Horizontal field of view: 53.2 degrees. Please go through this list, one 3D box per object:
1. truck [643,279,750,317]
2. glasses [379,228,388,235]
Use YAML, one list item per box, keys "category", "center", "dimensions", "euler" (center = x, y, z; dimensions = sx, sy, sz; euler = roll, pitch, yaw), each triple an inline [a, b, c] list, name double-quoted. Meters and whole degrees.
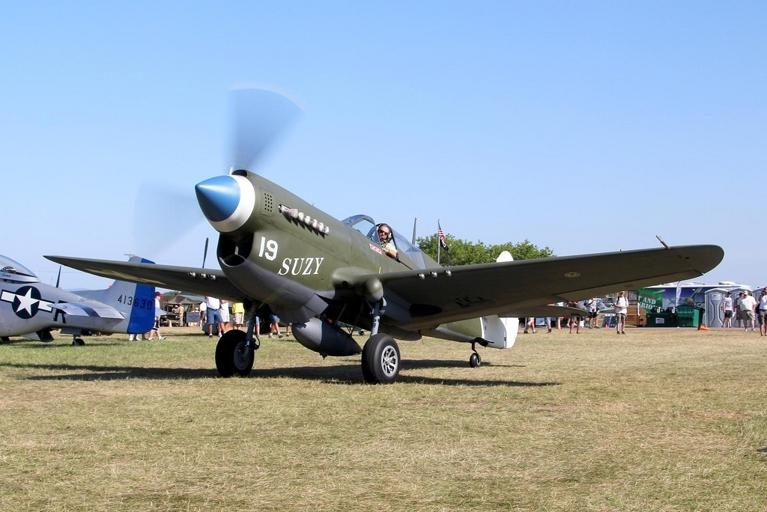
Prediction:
- category: "truck"
  center: [16.005, 2.357, 39.516]
  dimensions: [3.556, 0.983, 4.536]
  euler: [4, -6, -33]
- category: "glasses"
  center: [0.027, -0.407, 12.980]
  dimensions: [0.116, 0.103, 0.137]
  euler: [20, -16, 6]
